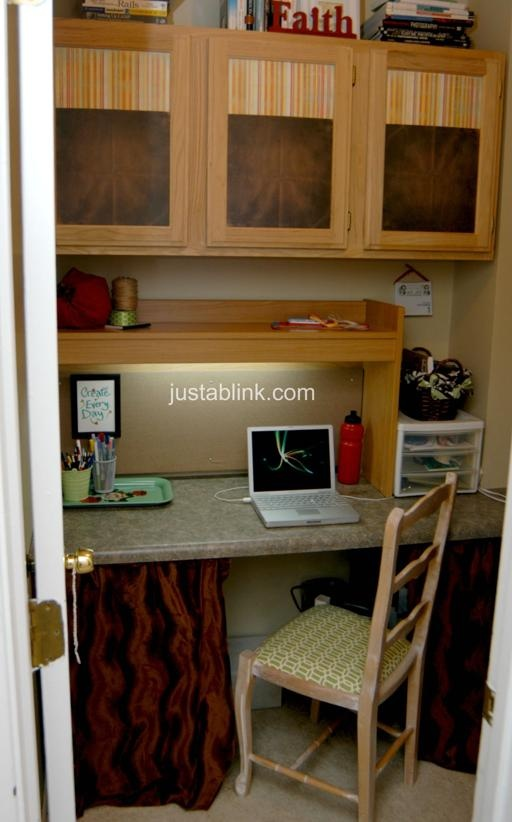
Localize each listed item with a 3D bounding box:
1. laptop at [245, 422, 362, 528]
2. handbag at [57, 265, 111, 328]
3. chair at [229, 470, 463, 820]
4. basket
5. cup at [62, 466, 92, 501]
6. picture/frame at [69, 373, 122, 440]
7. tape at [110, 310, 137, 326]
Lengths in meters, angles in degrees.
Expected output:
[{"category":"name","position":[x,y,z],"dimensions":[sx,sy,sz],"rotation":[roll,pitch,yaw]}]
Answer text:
[{"category":"laptop","position":[0.145,0.149,1.970],"dimensions":[0.259,0.218,0.285],"rotation":[-2,11,-15]},{"category":"handbag","position":[-0.501,-0.326,1.922],"dimensions":[0.151,0.167,0.122],"rotation":[-1,14,-14]},{"category":"chair","position":[0.243,0.620,1.852],"dimensions":[0.528,0.992,0.609],"rotation":[6,14,18]},{"category":"basket","position":[0.590,-0.088,2.196],"dimensions":[0.173,0.189,0.251],"rotation":[0,6,-5]},{"category":"cup","position":[-0.514,0.206,1.905],"dimensions":[0.087,0.086,0.086],"rotation":[3,4,0]},{"category":"picture/frame","position":[-0.530,-0.023,2.123],"dimensions":[0.190,0.281,0.027],"rotation":[0,13,-12]},{"category":"tape","position":[-0.405,-0.284,1.951],"dimensions":[0.051,0.038,0.055],"rotation":[2,13,4]}]
